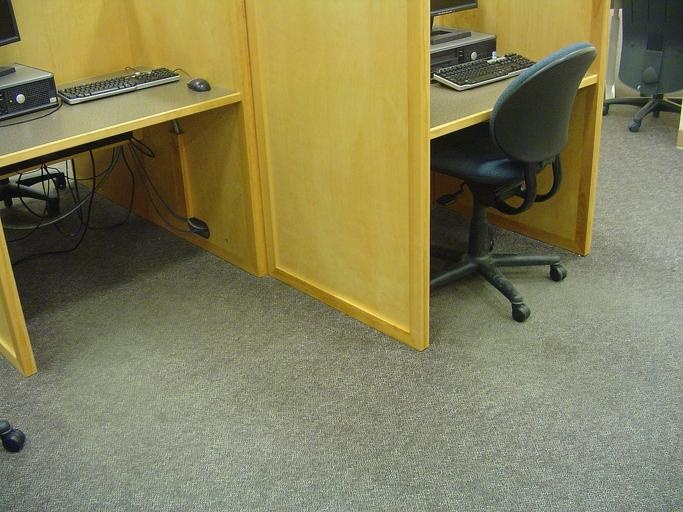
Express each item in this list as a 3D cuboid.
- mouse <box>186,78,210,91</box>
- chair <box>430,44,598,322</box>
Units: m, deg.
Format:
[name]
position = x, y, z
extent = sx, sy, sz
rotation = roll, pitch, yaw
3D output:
[mouse]
position = -0.612, -0.718, 2.447
extent = 0.072, 0.020, 0.077
rotation = -10, 32, -30
[chair]
position = 0.619, -0.370, 2.489
extent = 0.711, 1.051, 0.750
rotation = -24, 31, -37
